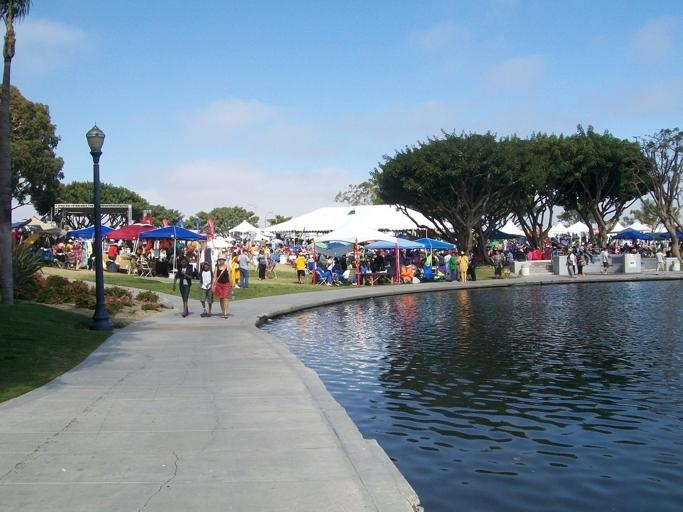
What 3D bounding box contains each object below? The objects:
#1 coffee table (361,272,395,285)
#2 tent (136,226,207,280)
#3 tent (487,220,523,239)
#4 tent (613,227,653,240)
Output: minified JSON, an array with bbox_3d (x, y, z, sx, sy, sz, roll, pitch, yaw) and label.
[{"bbox_3d":[2.305,1.427,39.693,2.081,0.868,2.927,1,2,2],"label":"coffee table"},{"bbox_3d":[-9.787,-1.199,37.115,3.339,2.830,3.094,-3,1,17],"label":"tent"},{"bbox_3d":[16.652,-2.712,63.233,3.864,1.775,3.946,-1,2,34],"label":"tent"},{"bbox_3d":[31.667,-2.265,67.762,2.977,0.818,2.764,0,-2,3],"label":"tent"}]
